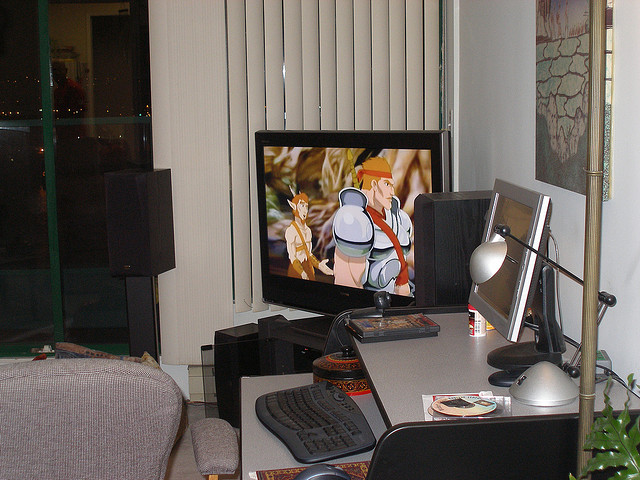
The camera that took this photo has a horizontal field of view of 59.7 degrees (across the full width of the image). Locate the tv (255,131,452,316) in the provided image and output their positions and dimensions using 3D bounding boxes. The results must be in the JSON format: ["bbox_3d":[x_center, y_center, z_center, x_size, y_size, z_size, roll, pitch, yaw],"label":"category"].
[{"bbox_3d":[0.192,-0.112,2.852,0.919,0.873,0.098,5,7,39],"label":"tv"}]

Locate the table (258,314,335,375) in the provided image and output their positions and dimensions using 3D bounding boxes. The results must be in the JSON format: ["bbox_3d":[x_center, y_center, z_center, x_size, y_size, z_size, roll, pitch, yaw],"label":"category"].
[{"bbox_3d":[-0.186,0.626,3.346,0.179,0.342,0.328,-28,-20,20],"label":"table"}]

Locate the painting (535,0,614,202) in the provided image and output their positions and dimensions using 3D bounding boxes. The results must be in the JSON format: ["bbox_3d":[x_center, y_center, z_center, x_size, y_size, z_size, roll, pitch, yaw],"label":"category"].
[{"bbox_3d":[0.776,-0.486,1.792,0.098,0.658,0.519,1,8,14],"label":"painting"}]

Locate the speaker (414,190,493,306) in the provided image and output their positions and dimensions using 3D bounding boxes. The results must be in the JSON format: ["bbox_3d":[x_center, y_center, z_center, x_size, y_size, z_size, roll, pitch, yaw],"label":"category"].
[{"bbox_3d":[0.515,0.015,2.248,0.229,0.445,0.236,1,24,13],"label":"speaker"}]

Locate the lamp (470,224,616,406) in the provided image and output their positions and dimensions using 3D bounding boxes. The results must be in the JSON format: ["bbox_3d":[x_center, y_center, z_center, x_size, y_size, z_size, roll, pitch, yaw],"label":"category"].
[{"bbox_3d":[0.525,0.166,1.364,0.303,0.413,0.273,1,8,18],"label":"lamp"}]

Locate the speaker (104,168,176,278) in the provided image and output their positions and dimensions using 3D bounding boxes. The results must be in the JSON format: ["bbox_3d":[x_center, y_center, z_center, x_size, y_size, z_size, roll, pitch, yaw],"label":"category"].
[{"bbox_3d":[-1.121,-0.109,3.483,0.319,0.652,0.320,-1,8,4],"label":"speaker"}]

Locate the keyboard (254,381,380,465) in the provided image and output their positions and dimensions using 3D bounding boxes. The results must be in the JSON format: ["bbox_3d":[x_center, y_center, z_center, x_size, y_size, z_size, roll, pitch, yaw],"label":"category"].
[{"bbox_3d":[-0.024,0.523,1.623,0.260,0.069,0.403,-6,10,-25],"label":"keyboard"}]

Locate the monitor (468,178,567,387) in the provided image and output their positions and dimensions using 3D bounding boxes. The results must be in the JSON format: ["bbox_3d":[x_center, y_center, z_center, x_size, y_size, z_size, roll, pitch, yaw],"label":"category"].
[{"bbox_3d":[0.546,0.136,1.511,0.222,0.578,0.447,-4,10,-3],"label":"monitor"}]
